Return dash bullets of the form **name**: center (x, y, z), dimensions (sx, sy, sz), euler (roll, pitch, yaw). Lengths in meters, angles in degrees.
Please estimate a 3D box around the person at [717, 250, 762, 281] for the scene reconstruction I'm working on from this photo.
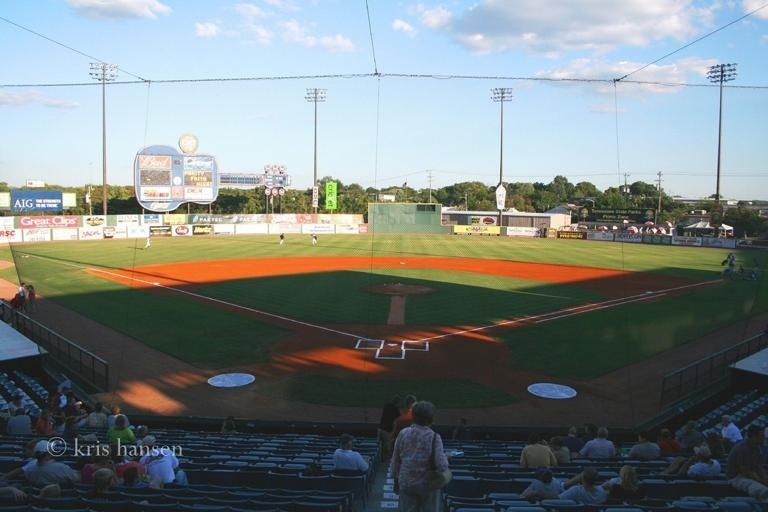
- **person**: center (11.471, 0.369, 24.258), dimensions (1.770, 0.918, 0.824), euler (-7, 9, -21)

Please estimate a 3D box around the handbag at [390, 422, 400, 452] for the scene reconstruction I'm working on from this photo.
- **handbag**: center (0.275, 4.415, 18.864), dimensions (0.215, 0.542, 0.596), euler (14, -2, 8)

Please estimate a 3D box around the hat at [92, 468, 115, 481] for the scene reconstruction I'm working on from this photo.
- **hat**: center (-6.289, 4.841, 17.112), dimensions (0.370, 0.253, 0.450), euler (0, 2, -22)

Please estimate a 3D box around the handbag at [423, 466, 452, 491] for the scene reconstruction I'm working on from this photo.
- **handbag**: center (1.199, 4.807, 16.837), dimensions (0.632, 0.507, 0.467), euler (5, 5, -36)

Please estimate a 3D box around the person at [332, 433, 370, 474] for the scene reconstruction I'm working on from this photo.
- **person**: center (-0.766, 4.823, 18.543), dimensions (1.126, 0.870, 0.655), euler (-4, -4, 44)

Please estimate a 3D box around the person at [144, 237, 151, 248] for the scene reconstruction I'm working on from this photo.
- **person**: center (-18.546, -1.009, 59.865), dimensions (0.290, 0.791, 0.863), euler (1, 8, 22)

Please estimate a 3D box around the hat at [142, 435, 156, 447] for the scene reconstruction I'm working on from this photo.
- **hat**: center (-5.726, 4.514, 18.758), dimensions (0.347, 0.088, 0.322), euler (4, 10, 6)
